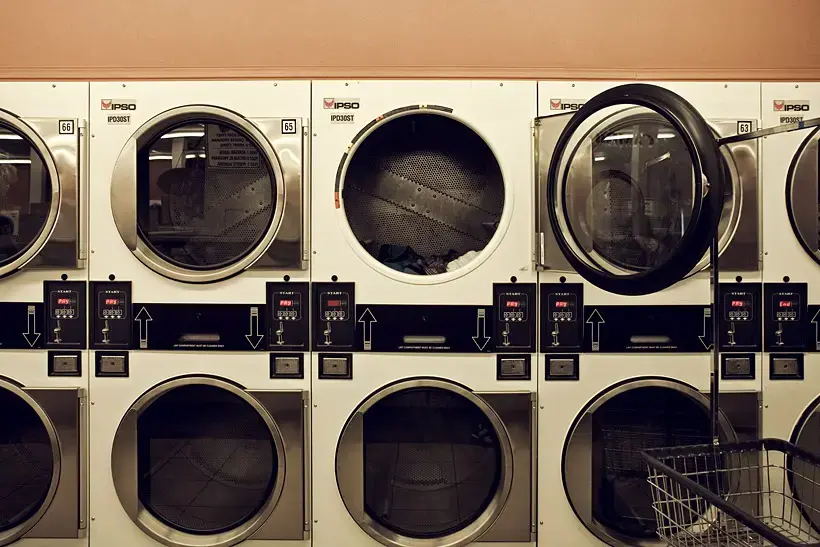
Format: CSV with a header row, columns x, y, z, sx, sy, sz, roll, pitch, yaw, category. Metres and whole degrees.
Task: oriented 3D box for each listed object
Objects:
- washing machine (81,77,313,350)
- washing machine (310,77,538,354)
x,y,z,sx,sy,sz,roll,pitch,yaw,category
-1.108,-0.317,4.528,1.138,1.025,1.150,1,49,-9,washing machine
0.091,-0.304,4.545,1.371,0.846,1.616,1,88,-4,washing machine
